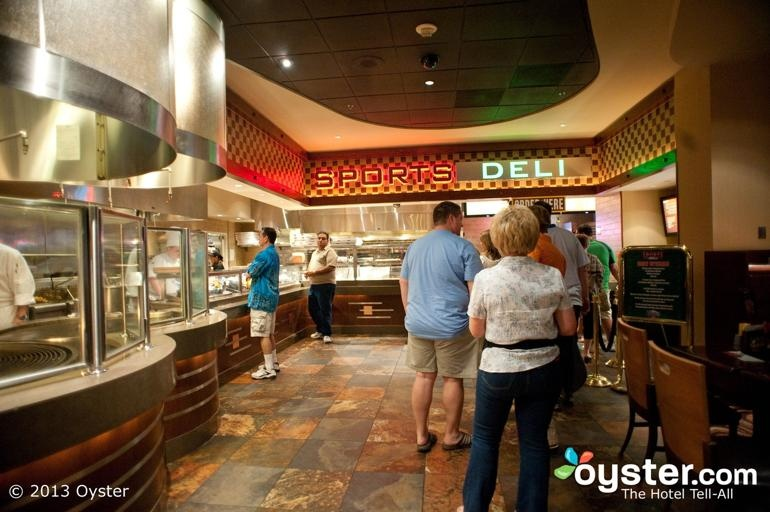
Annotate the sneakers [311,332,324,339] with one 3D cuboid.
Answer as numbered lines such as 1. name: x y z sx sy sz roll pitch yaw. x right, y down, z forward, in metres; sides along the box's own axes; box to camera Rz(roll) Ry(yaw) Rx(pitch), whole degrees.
1. sneakers: -1.130 1.292 8.108 0.231 0.094 0.088 4 -2 -16

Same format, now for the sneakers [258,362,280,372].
1. sneakers: -1.411 1.361 6.046 0.265 0.112 0.089 5 -6 -20

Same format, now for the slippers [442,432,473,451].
1. slippers: 0.619 1.576 4.203 0.251 0.094 0.103 -2 -4 -10

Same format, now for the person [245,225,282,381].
1. person: -1.469 0.558 5.976 0.329 1.765 0.511 -1 8 11

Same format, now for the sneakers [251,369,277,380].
1. sneakers: -1.439 1.406 5.922 0.293 0.127 0.116 3 -3 -7

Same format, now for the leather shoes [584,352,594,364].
1. leather shoes: 2.576 1.304 6.282 0.127 0.208 0.102 0 -7 15

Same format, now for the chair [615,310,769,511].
1. chair: 1.863 0.963 3.487 0.894 1.397 0.825 0 0 -3

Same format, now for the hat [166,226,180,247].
1. hat: -1.828 -0.159 4.275 0.118 0.119 0.111 2 0 40

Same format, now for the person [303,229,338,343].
1. person: -1.006 0.500 7.872 0.483 1.761 0.693 -4 8 -9
